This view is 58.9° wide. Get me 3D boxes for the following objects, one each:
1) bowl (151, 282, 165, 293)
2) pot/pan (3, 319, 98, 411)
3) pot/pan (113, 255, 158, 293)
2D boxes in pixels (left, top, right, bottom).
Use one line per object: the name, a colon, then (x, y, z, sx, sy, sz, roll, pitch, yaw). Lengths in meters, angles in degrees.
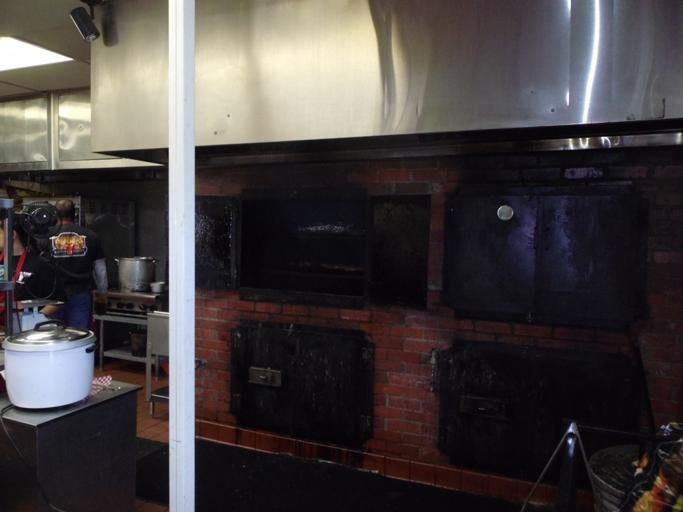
bowl: (-1.414, 0.235, 4.620, 0.120, 0.072, 0.092, -1, 12, -5)
pot/pan: (-1.283, 0.478, 2.758, 0.352, 0.337, 0.352, 1, -1, 3)
pot/pan: (-1.587, 0.134, 4.646, 0.356, 0.258, 0.229, 0, -3, 0)
